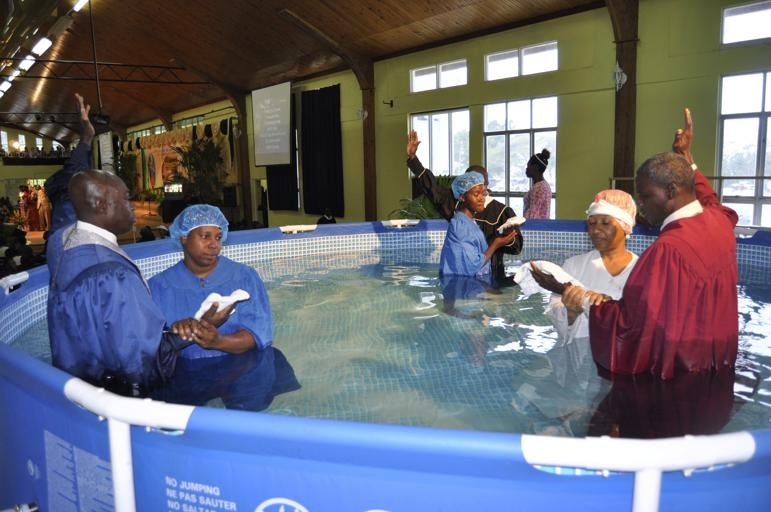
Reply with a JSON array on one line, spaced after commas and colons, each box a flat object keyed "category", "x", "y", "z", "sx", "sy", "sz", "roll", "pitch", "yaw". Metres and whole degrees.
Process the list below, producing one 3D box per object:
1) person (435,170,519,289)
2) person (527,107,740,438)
[{"category": "person", "x": 1.017, "y": 0.065, "z": 6.152, "sx": 0.878, "sy": 1.916, "sz": 0.656, "roll": 3, "pitch": 20, "yaw": 23}, {"category": "person", "x": 1.581, "y": 0.175, "z": 3.130, "sx": 1.087, "sy": 1.476, "sz": 0.750, "roll": -2, "pitch": 11, "yaw": -7}]
